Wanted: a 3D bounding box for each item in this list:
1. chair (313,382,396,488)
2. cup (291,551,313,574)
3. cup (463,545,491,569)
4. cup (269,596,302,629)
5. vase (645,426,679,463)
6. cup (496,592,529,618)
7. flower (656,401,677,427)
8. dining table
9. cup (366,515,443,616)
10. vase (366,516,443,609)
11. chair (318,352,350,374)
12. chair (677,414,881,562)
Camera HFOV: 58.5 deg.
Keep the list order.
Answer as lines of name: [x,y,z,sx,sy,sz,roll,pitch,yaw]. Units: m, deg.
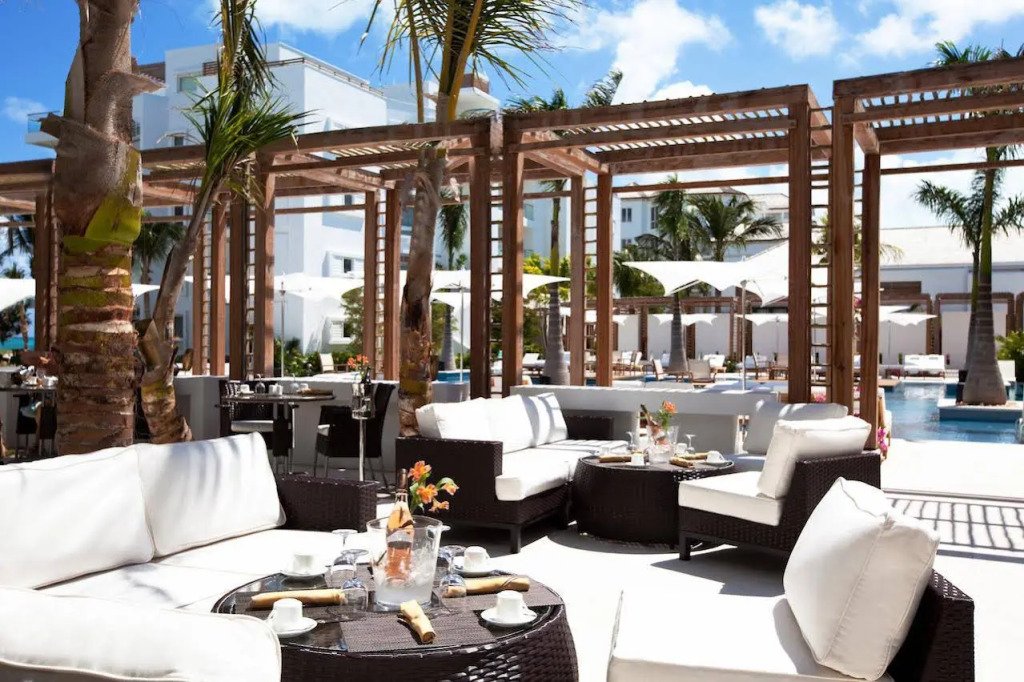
chair: [-1.692,0.985,9.640,0.965,1.436,0.991,2,-3,-15]
cup: [-1.091,1.152,4.725,0.108,0.083,0.082,-1,3,-32]
cup: [-0.196,1.173,4.930,0.128,0.100,0.100,1,-3,1]
cup: [-1.065,1.291,4.319,0.144,0.111,0.099,-1,-2,27]
vase: [1.206,0.849,7.367,0.182,0.308,0.302,2,-1,-14]
cup: [-0.004,1.275,4.398,0.130,0.106,0.104,1,1,0]
flower: [1.275,0.600,7.526,0.181,0.170,0.232,1,2,-3]
dining table: [-2.427,1.098,9.558,1.012,0.759,0.997,-1,2,-44]
cup: [-0.531,1.083,4.536,0.396,0.465,0.400,1,1,0]
vase: [-0.493,1.112,4.683,0.390,0.456,0.396,1,0,14]
chair: [-4.691,0.593,23.921,0.610,0.984,0.534,-1,-2,40]
chair: [2.021,0.964,6.868,1.045,1.113,1.138,1,1,45]
